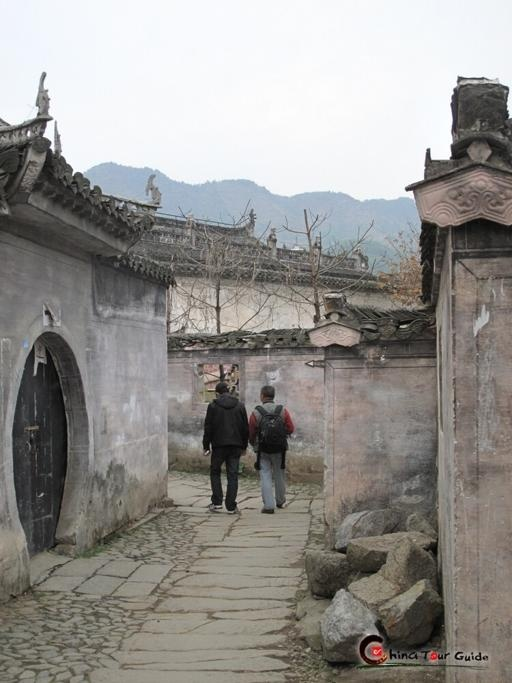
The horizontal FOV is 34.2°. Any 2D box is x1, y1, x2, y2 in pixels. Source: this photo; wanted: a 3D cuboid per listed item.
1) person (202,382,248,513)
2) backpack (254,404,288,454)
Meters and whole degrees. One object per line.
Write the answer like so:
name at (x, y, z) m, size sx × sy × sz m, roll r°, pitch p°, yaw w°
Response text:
person at (-0.310, 1.116, 8.743) m, size 0.478 × 1.348 × 0.472 m, roll 0°, pitch 1°, yaw -1°
backpack at (0.173, 0.909, 8.460) m, size 0.337 × 0.564 × 0.299 m, roll 0°, pitch -18°, yaw -8°
